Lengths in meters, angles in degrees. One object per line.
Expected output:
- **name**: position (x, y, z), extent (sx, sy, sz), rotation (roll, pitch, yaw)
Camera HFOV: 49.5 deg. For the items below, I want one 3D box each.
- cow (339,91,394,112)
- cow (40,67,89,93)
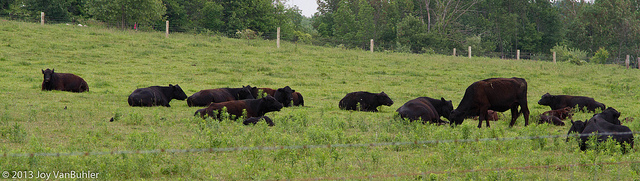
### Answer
- **cow**: position (11.671, 2.254, 171.484), extent (16.122, 4.502, 4.355), rotation (-2, 3, 1)
- **cow**: position (-62.612, -2.447, 169.543), extent (10.400, 5.769, 2.130), rotation (5, 1, -10)
